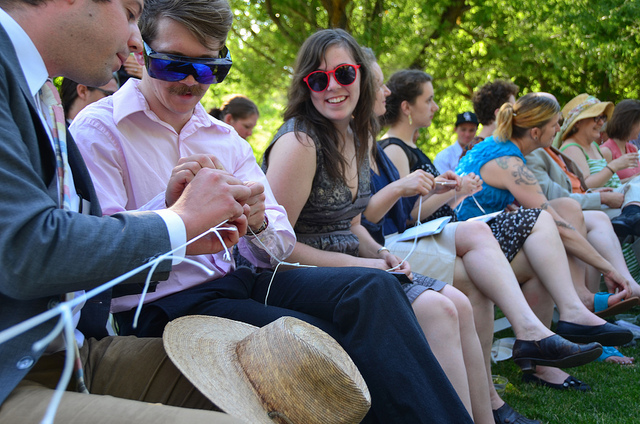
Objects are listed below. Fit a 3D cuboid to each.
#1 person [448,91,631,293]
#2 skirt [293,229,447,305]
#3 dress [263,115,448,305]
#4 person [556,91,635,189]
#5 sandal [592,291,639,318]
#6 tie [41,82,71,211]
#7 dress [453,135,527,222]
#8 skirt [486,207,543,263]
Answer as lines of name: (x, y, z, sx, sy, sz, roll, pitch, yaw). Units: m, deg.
person: (1.866, -0.161, 4.901, 1.609, 1.596, 0.644, 6, 16, 28)
skirt: (0.304, 0.299, 3.391, 0.918, 0.264, 0.473, 32, 27, 34)
dress: (0.211, -0.022, 3.587, 0.983, 1.100, 0.865, 9, 11, 37)
person: (3.214, -0.828, 6.879, 1.078, 1.425, 1.022, 1, 13, 23)
sandal: (2.278, 0.685, 4.316, 0.425, 0.123, 0.156, -22, -10, 32)
tie: (-1.043, -0.314, 2.274, 0.097, 0.084, 0.745, -2, 64, -18)
dress: (1.427, -0.258, 4.718, 0.375, 0.738, 0.513, 11, 9, -17)
skirt: (1.448, 0.075, 4.150, 0.124, 0.425, 0.433, 18, 33, -15)
